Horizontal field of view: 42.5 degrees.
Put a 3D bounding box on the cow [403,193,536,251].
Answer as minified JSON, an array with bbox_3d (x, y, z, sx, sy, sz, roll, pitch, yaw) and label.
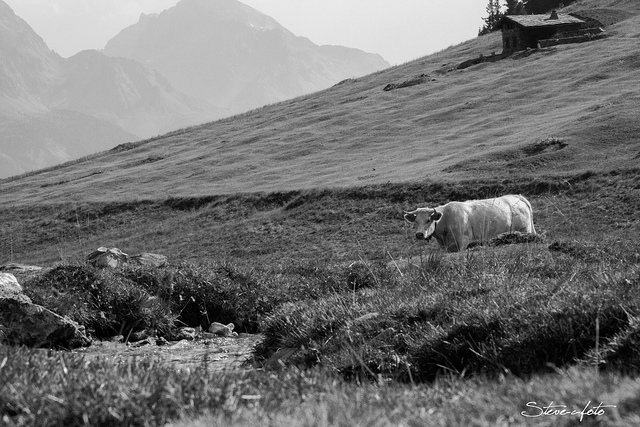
[{"bbox_3d":[9.618,1.170,49.851,8.203,4.844,2.464,-5,6,-11],"label":"cow"}]
